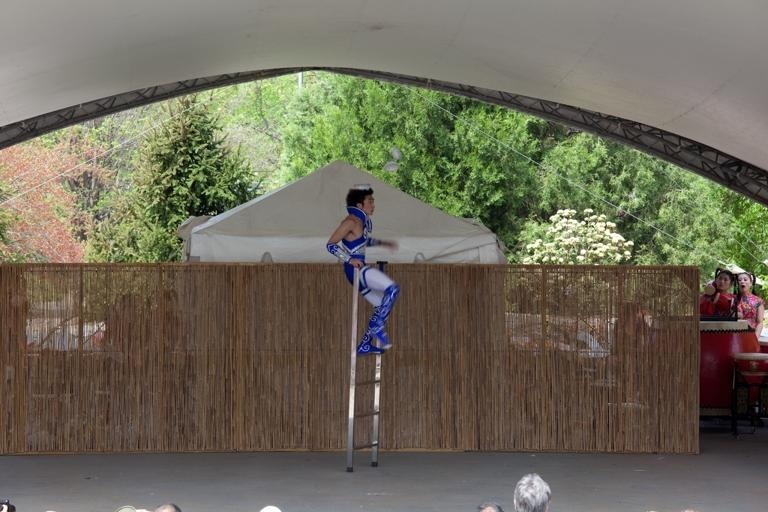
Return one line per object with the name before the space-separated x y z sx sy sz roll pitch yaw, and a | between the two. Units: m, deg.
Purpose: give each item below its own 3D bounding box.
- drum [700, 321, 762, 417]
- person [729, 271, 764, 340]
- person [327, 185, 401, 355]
drum | 4.922 1.622 16.036 0.757 1.353 0.426 1 13 5
person | 5.508 0.694 16.744 0.382 1.238 0.380 -1 -1 0
person | -0.218 0.232 14.339 0.950 2.241 0.824 0 -3 8
